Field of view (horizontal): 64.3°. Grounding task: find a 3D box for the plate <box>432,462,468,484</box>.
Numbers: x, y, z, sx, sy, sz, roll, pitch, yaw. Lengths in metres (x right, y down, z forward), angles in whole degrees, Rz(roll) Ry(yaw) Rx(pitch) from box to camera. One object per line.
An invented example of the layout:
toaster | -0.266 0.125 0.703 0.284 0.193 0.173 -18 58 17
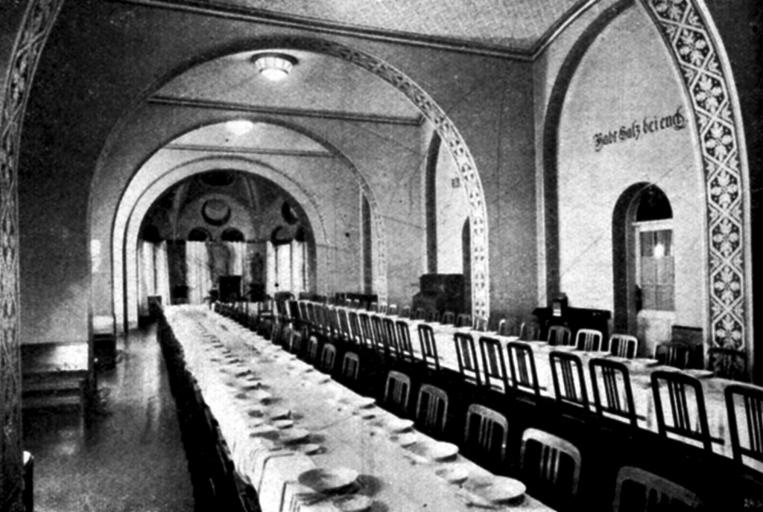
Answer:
plate | 0.558 1.750 4.873 0.267 0.094 0.210 -2 -3 8

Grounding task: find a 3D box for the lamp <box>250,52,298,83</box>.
lamp | -1.930 -3.444 10.948 0.836 0.315 0.528 0 -3 -12

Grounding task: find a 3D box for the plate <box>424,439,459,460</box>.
plate | 0.497 1.646 5.093 0.259 0.108 0.212 -2 -3 23

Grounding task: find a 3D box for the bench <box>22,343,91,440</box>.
bench | -4.703 1.714 8.541 0.944 1.070 0.221 12 -46 -18

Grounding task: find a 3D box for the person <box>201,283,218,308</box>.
person | -5.691 1.321 20.010 0.475 0.767 0.457 15 -23 -42
